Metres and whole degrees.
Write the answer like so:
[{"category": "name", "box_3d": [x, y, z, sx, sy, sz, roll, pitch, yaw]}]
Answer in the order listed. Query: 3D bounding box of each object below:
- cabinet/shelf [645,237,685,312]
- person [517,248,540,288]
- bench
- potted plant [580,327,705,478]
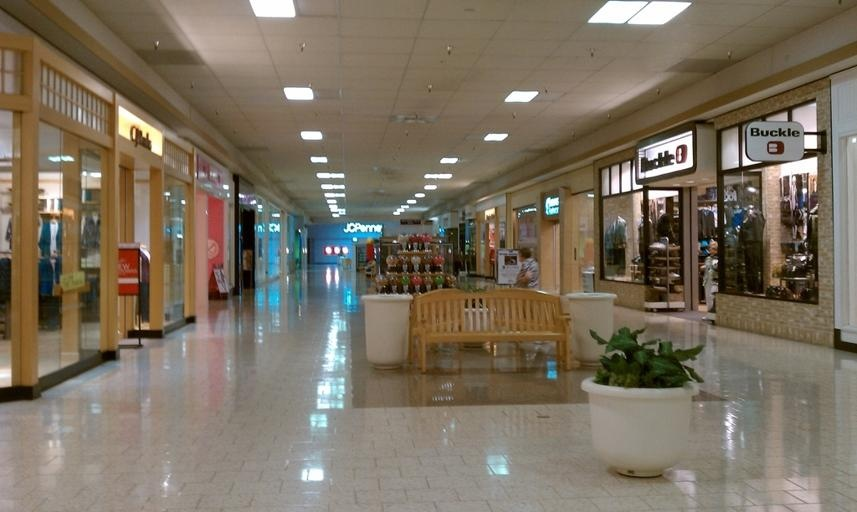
[{"category": "cabinet/shelf", "box_3d": [6.138, 0.476, 15.397, 1.163, 1.766, 1.174, -2, -4, 33]}, {"category": "person", "box_3d": [1.890, 0.217, 11.363, 0.382, 0.798, 0.540, -2, -3, 16]}, {"category": "bench", "box_3d": [0.964, 1.091, 8.961, 2.282, 0.997, 0.711, 0, 4, -1]}, {"category": "potted plant", "box_3d": [2.194, 1.525, 6.520, 1.503, 1.661, 1.469, 1, -4, -14]}]
